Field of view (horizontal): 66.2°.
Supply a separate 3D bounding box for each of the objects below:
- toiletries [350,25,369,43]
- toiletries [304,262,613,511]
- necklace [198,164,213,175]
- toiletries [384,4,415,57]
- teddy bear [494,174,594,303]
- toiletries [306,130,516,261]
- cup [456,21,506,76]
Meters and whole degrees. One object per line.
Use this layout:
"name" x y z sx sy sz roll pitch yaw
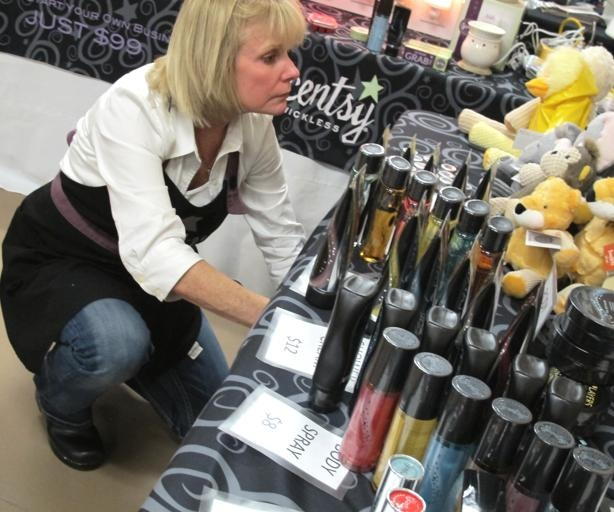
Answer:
"toiletries" 0.227 -0.965 2.033 0.086 0.032 0.096 12 44 5
"toiletries" 0.325 0.232 0.783 0.377 0.104 0.304 10 28 3
"necklace" -0.256 -0.216 1.180 0.030 0.031 0.008 14 -7 -44
"toiletries" 0.374 -0.933 1.962 0.076 0.193 0.154 16 22 2
"teddy bear" 0.453 -0.025 0.884 0.165 0.201 0.111 23 31 36
"toiletries" 0.407 -0.237 1.449 0.294 0.125 0.516 3 44 4
"cup" 0.752 -0.903 2.026 0.145 0.188 0.159 2 46 -2
